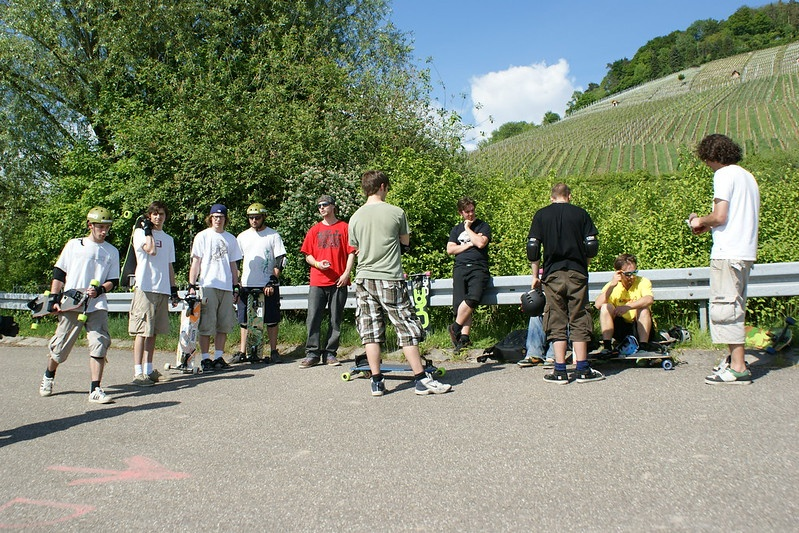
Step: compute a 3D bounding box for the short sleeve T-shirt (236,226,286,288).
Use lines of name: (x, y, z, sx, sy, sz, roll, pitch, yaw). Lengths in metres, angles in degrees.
short sleeve T-shirt: (-2.528, -0.163, 11.889, 1.080, 1.017, 0.587, 1, 4, 7)

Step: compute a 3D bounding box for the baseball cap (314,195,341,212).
baseball cap: (-1.252, -1.108, 11.431, 0.306, 0.223, 0.399, -6, 0, 5)

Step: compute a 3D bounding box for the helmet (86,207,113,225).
helmet: (-4.480, -0.739, 9.874, 0.335, 0.282, 0.267, 2, 3, 31)

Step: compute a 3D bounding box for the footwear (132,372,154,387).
footwear: (-3.942, 1.766, 10.220, 0.297, 0.127, 0.148, 1, -1, 11)

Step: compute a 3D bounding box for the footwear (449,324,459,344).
footwear: (0.939, 1.132, 11.177, 0.149, 0.351, 0.127, -18, -11, 42)

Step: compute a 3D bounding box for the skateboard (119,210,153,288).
skateboard: (-4.221, -0.308, 10.618, 0.452, 1.381, 0.206, 9, -4, -36)

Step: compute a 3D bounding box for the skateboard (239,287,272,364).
skateboard: (-2.525, 1.009, 11.486, 0.414, 1.273, 0.227, 0, -4, -3)

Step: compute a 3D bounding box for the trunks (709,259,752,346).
trunks: (4.491, 0.476, 9.065, 0.480, 1.131, 0.518, 4, 16, 26)

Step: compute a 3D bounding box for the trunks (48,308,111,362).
trunks: (-4.897, 1.080, 10.206, 1.059, 1.003, 0.397, 1, -12, -12)

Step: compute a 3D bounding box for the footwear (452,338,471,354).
footwear: (1.045, 1.332, 11.175, 0.396, 0.168, 0.145, -34, -14, -7)

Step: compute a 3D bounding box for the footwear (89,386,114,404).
footwear: (-4.307, 1.839, 9.462, 0.444, 0.205, 0.169, 2, 15, 18)

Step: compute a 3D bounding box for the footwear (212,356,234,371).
footwear: (-2.971, 1.631, 11.182, 0.307, 0.216, 0.329, -5, 15, -8)

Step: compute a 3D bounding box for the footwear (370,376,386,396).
footwear: (-0.301, 1.664, 9.306, 0.190, 0.296, 0.226, -4, 14, -2)

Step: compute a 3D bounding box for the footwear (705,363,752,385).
footwear: (4.426, 1.465, 9.040, 0.653, 0.279, 0.237, 1, -3, 8)

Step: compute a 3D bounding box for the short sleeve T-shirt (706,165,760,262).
short sleeve T-shirt: (4.617, -0.729, 9.116, 0.586, 1.265, 0.604, 4, 16, 26)

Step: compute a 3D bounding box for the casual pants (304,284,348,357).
casual pants: (-1.228, 0.945, 11.236, 0.716, 1.178, 0.684, -4, 15, -3)

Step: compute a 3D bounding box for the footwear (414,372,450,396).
footwear: (0.398, 1.658, 9.298, 0.583, 0.339, 0.213, -2, 3, -4)

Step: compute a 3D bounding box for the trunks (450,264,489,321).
trunks: (1.213, 0.373, 11.253, 0.601, 0.751, 0.436, -2, 15, 4)

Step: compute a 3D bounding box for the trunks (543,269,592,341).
trunks: (2.412, 0.570, 9.500, 0.667, 0.983, 0.494, 0, 15, 12)

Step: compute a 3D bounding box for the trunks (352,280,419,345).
trunks: (-0.174, 0.664, 9.724, 1.160, 1.095, 0.531, -1, 4, 18)

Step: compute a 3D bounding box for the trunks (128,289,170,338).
trunks: (-3.924, 0.738, 10.448, 0.468, 0.834, 0.771, -8, -13, 27)

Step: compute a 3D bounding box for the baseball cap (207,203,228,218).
baseball cap: (-3.123, -0.985, 11.477, 0.270, 0.201, 0.366, 3, -13, -12)

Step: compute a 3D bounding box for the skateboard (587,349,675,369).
skateboard: (3.454, 1.359, 9.925, 1.237, 0.186, 0.450, 0, 2, 18)

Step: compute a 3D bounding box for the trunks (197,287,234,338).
trunks: (-3.120, 0.759, 11.184, 0.358, 1.014, 0.810, -3, -5, 28)

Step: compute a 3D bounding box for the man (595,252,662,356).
man: (3.546, 0.588, 10.330, 1.177, 1.498, 1.045, -2, -2, -23)

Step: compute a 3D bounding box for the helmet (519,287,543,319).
helmet: (2.053, 0.583, 10.457, 0.321, 0.379, 0.426, 0, -4, 6)

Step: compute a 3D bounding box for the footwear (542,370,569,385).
footwear: (2.219, 1.567, 9.399, 0.346, 0.161, 0.151, 3, 4, 45)

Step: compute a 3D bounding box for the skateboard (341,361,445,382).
skateboard: (-0.067, 1.560, 9.971, 1.307, 0.259, 0.562, -1, -2, 14)

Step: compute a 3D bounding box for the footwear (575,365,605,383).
footwear: (2.757, 1.536, 9.484, 0.491, 0.225, 0.179, -2, 5, -25)
